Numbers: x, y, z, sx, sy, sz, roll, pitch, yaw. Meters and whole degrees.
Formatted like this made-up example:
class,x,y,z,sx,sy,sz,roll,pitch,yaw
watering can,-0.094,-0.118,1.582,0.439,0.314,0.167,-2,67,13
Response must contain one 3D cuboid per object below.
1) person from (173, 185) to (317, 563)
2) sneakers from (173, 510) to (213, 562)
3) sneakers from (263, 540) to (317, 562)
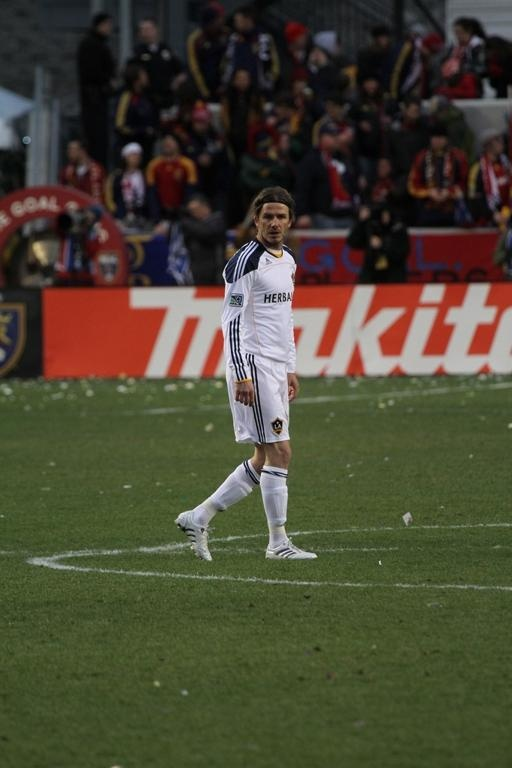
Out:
class,x,y,z,sx,sy,sz,roll,pitch,yaw
person,0.002,-0.022,6.483,0.635,1.860,0.622,6,16,2
sneakers,-0.302,0.745,6.482,0.187,0.242,0.178,4,16,-4
sneakers,0.162,0.820,6.516,0.281,0.106,0.095,0,1,3
